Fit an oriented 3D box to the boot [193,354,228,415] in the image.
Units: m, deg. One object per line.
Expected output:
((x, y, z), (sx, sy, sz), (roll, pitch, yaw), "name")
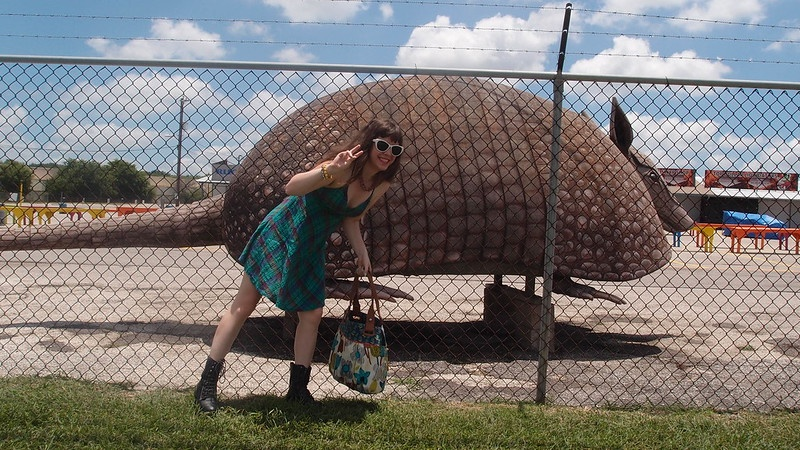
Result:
((-2.012, 1.682, 8.440), (0.262, 0.506, 0.641), (14, 8, -26), "boot")

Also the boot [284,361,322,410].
((-0.933, 1.718, 8.544), (0.486, 0.492, 0.278), (3, 3, -37), "boot")
